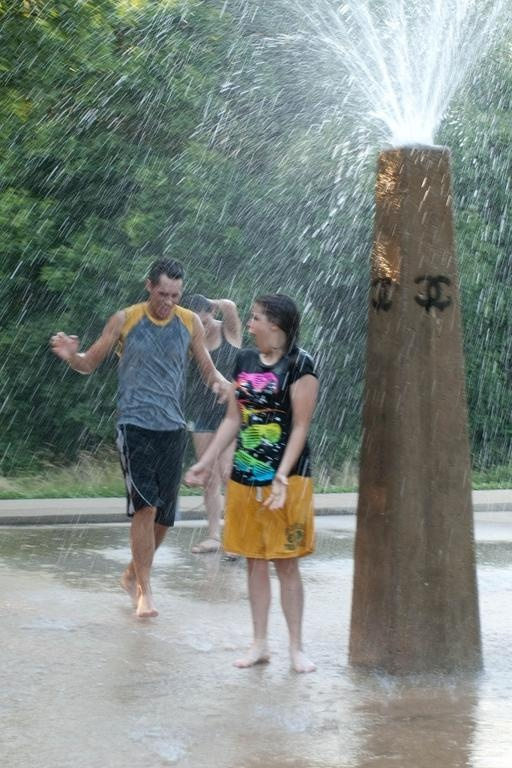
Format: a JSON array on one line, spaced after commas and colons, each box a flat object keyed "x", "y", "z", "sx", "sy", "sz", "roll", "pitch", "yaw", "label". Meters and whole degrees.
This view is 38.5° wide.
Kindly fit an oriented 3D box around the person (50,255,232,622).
[{"x": -0.571, "y": 0.266, "z": 3.683, "sx": 1.134, "sy": 1.732, "sz": 0.886, "roll": 4, "pitch": -4, "yaw": -44, "label": "person"}]

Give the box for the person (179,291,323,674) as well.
[{"x": 0.014, "y": 0.369, "z": 2.903, "sx": 0.449, "sy": 1.474, "sz": 0.344, "roll": -3, "pitch": -9, "yaw": 39, "label": "person"}]
